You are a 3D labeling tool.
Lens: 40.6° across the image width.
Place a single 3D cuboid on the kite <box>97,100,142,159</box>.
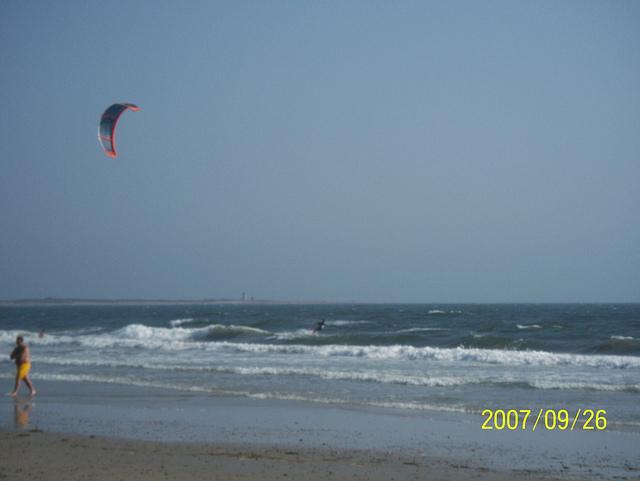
[{"bbox_3d":[-6.899,-3.702,28.824,0.625,1.638,0.975,-8,14,-39],"label":"kite"}]
